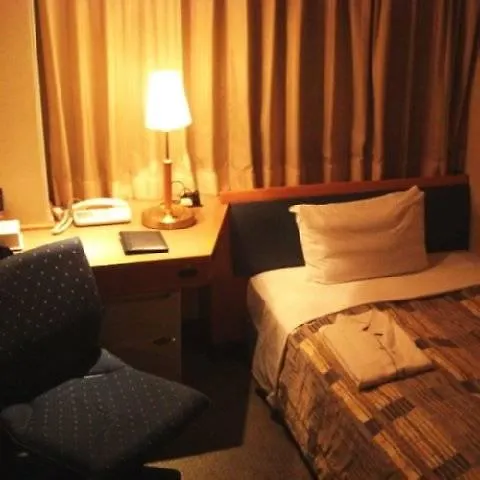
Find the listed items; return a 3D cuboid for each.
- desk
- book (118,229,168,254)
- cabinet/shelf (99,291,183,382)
[{"bbox_3d":[-0.563,0.341,2.181,0.693,0.762,0.628,-3,25,-10],"label":"desk"},{"bbox_3d":[-0.416,0.033,1.906,0.122,0.036,0.138,1,24,-22],"label":"book"},{"bbox_3d":[-0.429,0.395,2.156,0.410,0.489,0.303,-1,8,-8],"label":"cabinet/shelf"}]
